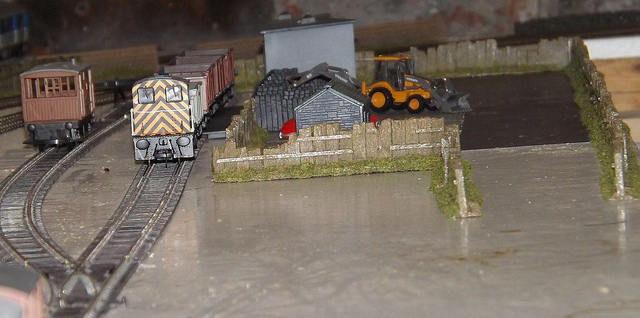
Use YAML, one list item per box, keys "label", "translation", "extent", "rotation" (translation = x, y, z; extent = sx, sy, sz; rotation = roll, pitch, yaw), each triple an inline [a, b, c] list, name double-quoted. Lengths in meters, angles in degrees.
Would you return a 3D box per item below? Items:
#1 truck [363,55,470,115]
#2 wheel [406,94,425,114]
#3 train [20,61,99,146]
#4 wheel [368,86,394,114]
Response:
- label: "truck"
  translation: [5.791, -4.427, 48.320]
  extent: [6.947, 3.525, 2.013]
  rotation: [-1, 10, 6]
- label: "wheel"
  translation: [5.638, -3.310, 46.657]
  extent: [1.218, 1.081, 0.448]
  rotation: [2, 8, 31]
- label: "train"
  translation: [-14.606, -2.966, 43.928]
  extent: [3.681, 4.642, 1.627]
  rotation: [-6, 9, -18]
- label: "wheel"
  translation: [3.582, -3.563, 46.745]
  extent: [1.663, 1.481, 0.517]
  rotation: [9, 17, 32]
